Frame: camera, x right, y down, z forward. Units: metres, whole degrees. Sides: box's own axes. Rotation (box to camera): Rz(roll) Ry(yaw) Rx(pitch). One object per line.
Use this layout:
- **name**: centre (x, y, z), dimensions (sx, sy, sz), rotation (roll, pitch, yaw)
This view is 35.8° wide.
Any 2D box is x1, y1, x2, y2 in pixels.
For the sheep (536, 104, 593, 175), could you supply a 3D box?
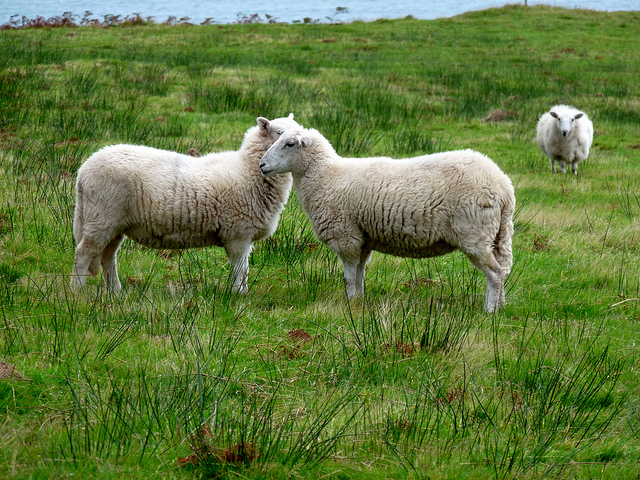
- **sheep**: centre (4.625, -1.989, 18.613), dimensions (0.745, 1.117, 1.502), rotation (0, 6, 5)

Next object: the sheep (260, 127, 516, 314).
- **sheep**: centre (0.993, -0.283, 13.841), dimensions (3.353, 2.548, 1.314), rotation (2, 2, 12)
